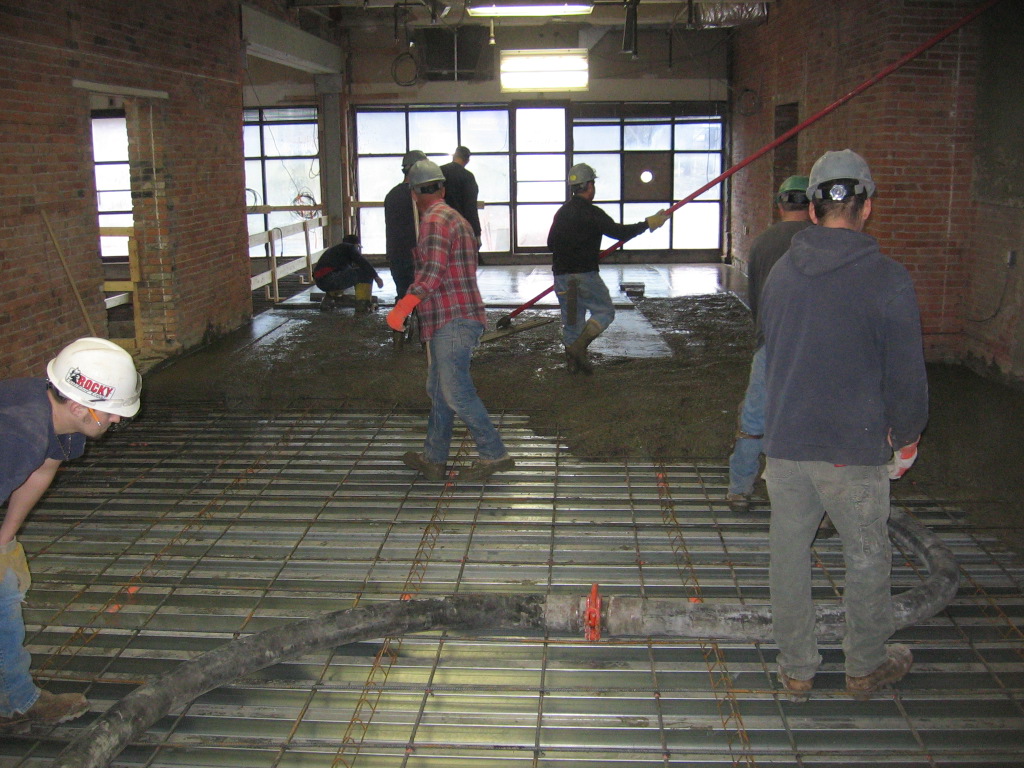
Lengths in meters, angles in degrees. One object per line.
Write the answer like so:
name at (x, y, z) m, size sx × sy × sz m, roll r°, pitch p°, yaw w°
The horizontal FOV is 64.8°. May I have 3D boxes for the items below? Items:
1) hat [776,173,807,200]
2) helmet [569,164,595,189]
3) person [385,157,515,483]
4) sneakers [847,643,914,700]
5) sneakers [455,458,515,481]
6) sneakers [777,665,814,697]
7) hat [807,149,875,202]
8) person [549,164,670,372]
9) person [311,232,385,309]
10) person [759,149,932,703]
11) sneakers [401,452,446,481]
hat at (1.554, -1.092, 4.455) m, size 0.181 × 0.107 × 0.226 m, roll 4°, pitch -5°, yaw 26°
helmet at (0.613, -1.805, 6.997) m, size 0.186 × 0.198 × 0.272 m, roll 2°, pitch 14°, yaw 12°
person at (-0.373, -0.371, 4.752) m, size 0.684 × 1.853 × 0.524 m, roll -2°, pitch 14°, yaw -3°
sneakers at (1.363, 1.066, 2.989) m, size 0.310 × 0.131 × 0.108 m, roll -29°, pitch 30°, yaw -21°
sneakers at (-0.151, 0.495, 4.921) m, size 0.401 × 0.162 × 0.125 m, roll -4°, pitch 29°, yaw 0°
sneakers at (1.069, 1.110, 3.025) m, size 0.075 × 0.062 × 0.161 m, roll -1°, pitch -2°, yaw 5°
hat at (1.196, -0.742, 2.926) m, size 0.255 × 0.154 × 0.317 m, roll 2°, pitch 3°, yaw 15°
person at (0.663, -1.002, 7.077) m, size 0.800 × 1.797 × 0.384 m, roll 3°, pitch 15°, yaw 19°
person at (-2.288, -1.496, 11.098) m, size 0.919 × 1.037 × 0.742 m, roll -6°, pitch 12°, yaw -26°
person at (1.158, 0.313, 2.884) m, size 0.546 × 1.712 × 0.323 m, roll 4°, pitch 16°, yaw 23°
sneakers at (-0.536, 0.493, 4.922) m, size 0.282 × 0.112 × 0.134 m, roll 31°, pitch 29°, yaw 14°
